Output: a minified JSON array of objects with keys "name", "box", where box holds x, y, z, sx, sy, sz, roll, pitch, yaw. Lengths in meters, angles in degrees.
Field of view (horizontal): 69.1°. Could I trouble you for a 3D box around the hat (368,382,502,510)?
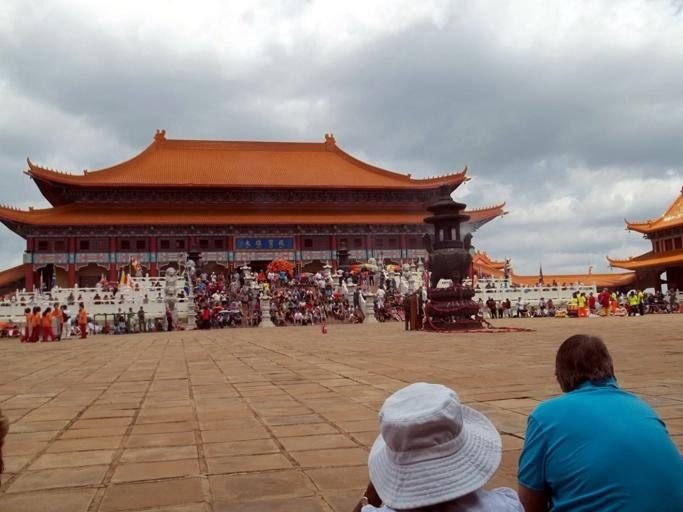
[{"name":"hat","box":[0.343,0.673,1.826,0.494,0.416,0.271,-3,-7,3]}]
